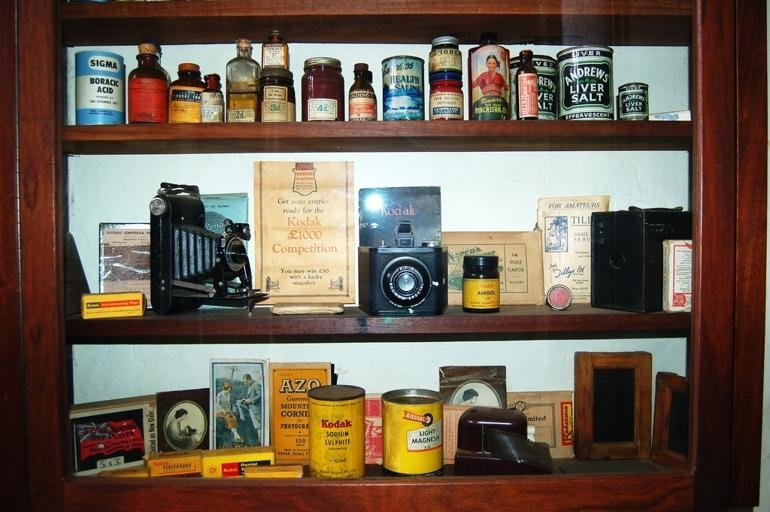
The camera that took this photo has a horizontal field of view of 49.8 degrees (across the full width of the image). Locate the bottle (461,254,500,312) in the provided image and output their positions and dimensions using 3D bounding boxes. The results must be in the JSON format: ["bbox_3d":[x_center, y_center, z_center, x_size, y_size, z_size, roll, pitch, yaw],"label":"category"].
[{"bbox_3d":[0.263,0.082,2.345,0.153,0.199,0.145,1,-2,0],"label":"bottle"}]

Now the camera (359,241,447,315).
[{"bbox_3d":[0.054,0.060,2.397,0.211,0.149,0.206,0,3,0],"label":"camera"}]

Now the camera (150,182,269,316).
[{"bbox_3d":[-0.492,-0.025,2.406,0.322,0.350,0.210,4,7,19],"label":"camera"}]

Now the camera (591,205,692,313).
[{"bbox_3d":[0.742,0.006,2.432,0.264,0.263,0.238,0,0,-17],"label":"camera"}]
